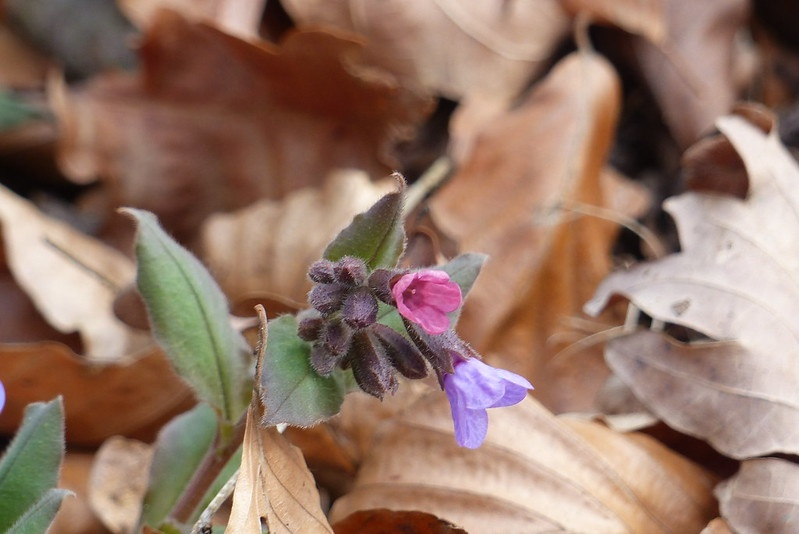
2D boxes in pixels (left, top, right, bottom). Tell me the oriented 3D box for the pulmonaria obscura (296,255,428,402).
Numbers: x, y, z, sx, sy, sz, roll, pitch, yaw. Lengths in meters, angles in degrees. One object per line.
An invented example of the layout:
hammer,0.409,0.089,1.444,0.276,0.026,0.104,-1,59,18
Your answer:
pulmonaria obscura,-0.108,0.149,2.576,0.289,0.208,0.363,-25,62,-7

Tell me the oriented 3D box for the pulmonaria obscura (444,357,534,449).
pulmonaria obscura,0.184,0.295,2.469,0.229,0.105,0.252,-5,37,49
